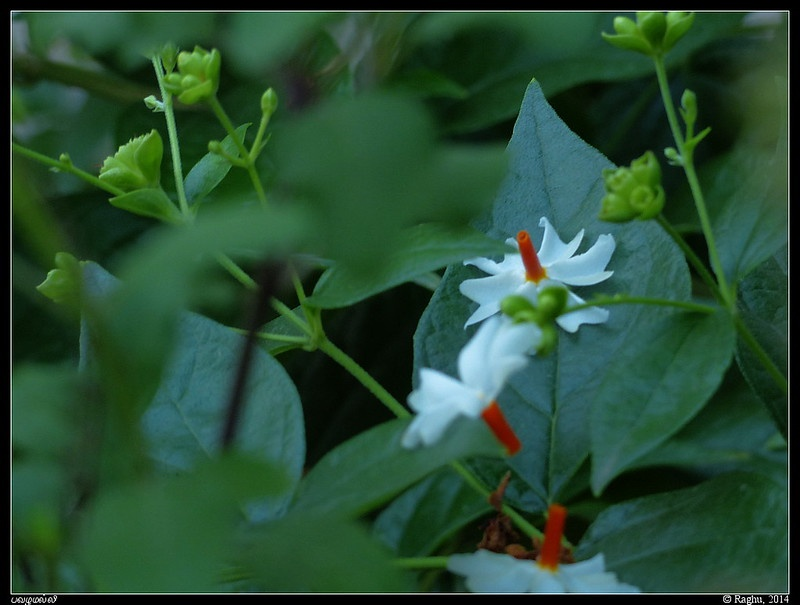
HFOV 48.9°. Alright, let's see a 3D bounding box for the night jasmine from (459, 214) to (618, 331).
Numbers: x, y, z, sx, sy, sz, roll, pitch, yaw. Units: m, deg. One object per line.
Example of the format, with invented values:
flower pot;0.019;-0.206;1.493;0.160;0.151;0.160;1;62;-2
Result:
night jasmine;0.130;-0.027;0.931;0.206;0.090;0.200;1;7;-38
